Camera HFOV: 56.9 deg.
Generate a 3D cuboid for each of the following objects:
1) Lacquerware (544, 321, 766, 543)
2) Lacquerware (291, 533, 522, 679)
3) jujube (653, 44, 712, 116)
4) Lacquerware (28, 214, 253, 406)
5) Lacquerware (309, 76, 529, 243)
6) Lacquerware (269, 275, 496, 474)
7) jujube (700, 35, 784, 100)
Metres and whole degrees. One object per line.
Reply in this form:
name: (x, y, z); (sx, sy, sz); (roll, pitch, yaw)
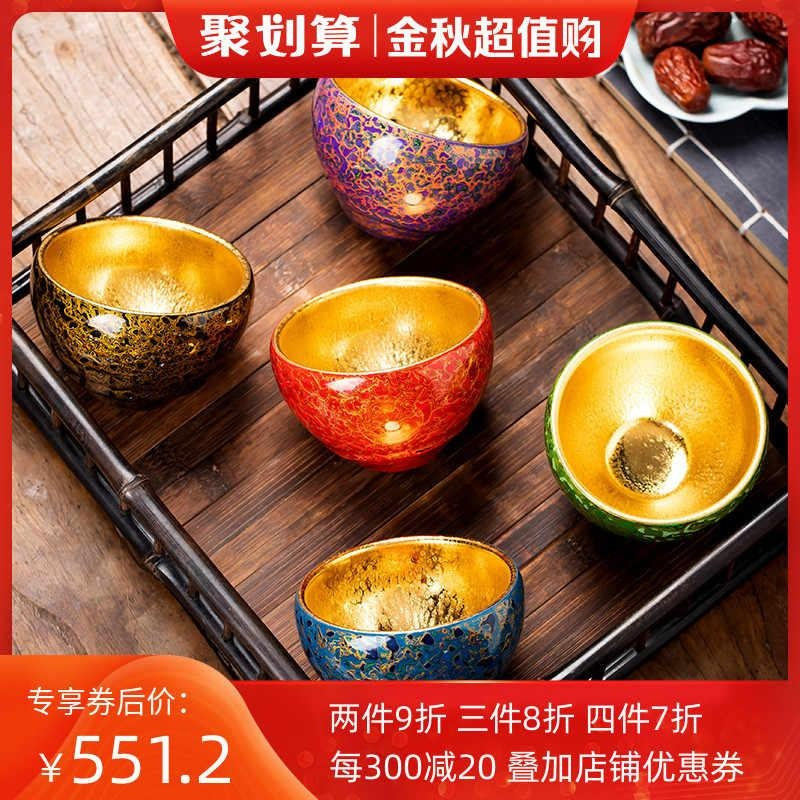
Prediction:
Lacquerware: (0.288, 0.046, 0.831); (0.238, 0.129, 0.215); (-2, 67, 13)
Lacquerware: (0.006, 0.211, 0.714); (0.207, 0.165, 0.138); (-1, 51, -1)
jujube: (0.403, -0.464, 1.067); (0.065, 0.055, 0.103); (-24, 70, 6)
Lacquerware: (-0.308, -0.100, 0.872); (0.238, 0.132, 0.235); (33, 36, 18)
Lacquerware: (0.016, -0.331, 0.941); (0.264, 0.145, 0.240); (-1, 54, -21)
Lacquerware: (-0.024, -0.029, 0.824); (0.226, 0.206, 0.205); (-8, 52, -7)
jujube: (0.500, -0.477, 1.049); (0.114, 0.079, 0.038); (16, 76, 29)
